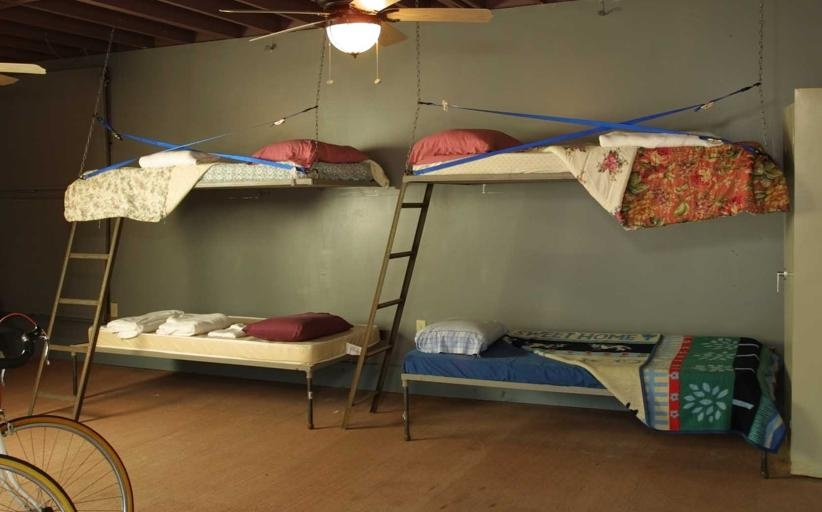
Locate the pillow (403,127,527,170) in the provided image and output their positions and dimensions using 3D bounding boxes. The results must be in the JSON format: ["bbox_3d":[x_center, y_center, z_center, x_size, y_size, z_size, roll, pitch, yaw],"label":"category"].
[{"bbox_3d":[0.409,-1.026,6.063,0.723,0.174,0.501,-6,6,13],"label":"pillow"}]

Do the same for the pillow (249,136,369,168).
[{"bbox_3d":[-0.909,-1.012,6.519,0.551,0.148,0.653,-1,-2,40],"label":"pillow"}]

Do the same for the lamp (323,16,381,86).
[{"bbox_3d":[-0.442,-1.497,4.672,0.445,0.399,0.397,-11,8,-4],"label":"lamp"}]
